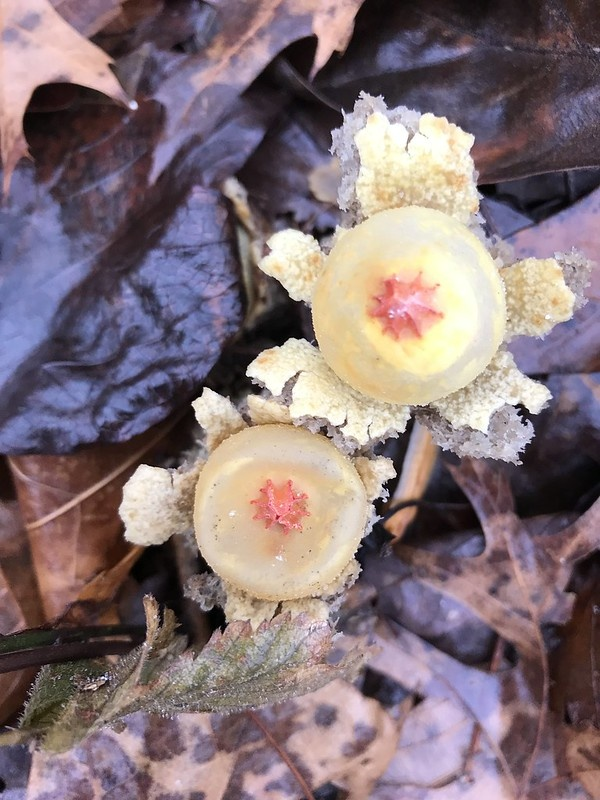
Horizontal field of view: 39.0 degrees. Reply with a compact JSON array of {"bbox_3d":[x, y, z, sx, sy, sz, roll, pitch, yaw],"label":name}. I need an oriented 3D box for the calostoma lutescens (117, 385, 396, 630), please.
[{"bbox_3d":[-0.054,0.138,1.480,0.540,0.153,0.376,-7,96,4],"label":"calostoma lutescens"}]

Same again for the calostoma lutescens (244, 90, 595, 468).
[{"bbox_3d":[0.174,-0.182,1.454,0.701,0.222,0.561,-19,98,2],"label":"calostoma lutescens"}]
